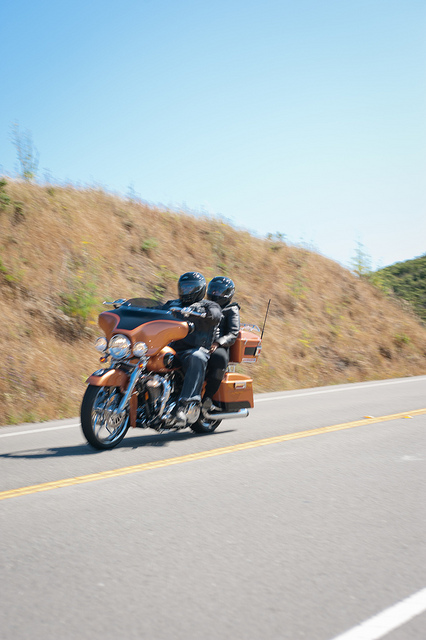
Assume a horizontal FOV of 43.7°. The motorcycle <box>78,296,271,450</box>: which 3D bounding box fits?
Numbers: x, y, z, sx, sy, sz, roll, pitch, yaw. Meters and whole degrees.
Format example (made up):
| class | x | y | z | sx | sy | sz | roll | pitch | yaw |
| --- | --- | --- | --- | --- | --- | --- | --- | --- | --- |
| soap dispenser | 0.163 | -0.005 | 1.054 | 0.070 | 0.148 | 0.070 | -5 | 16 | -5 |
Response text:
| class | x | y | z | sx | sy | sz | roll | pitch | yaw |
| --- | --- | --- | --- | --- | --- | --- | --- | --- | --- |
| motorcycle | -0.536 | 0.731 | 7.457 | 1.418 | 1.879 | 3.224 | 3 | 0 | 36 |
